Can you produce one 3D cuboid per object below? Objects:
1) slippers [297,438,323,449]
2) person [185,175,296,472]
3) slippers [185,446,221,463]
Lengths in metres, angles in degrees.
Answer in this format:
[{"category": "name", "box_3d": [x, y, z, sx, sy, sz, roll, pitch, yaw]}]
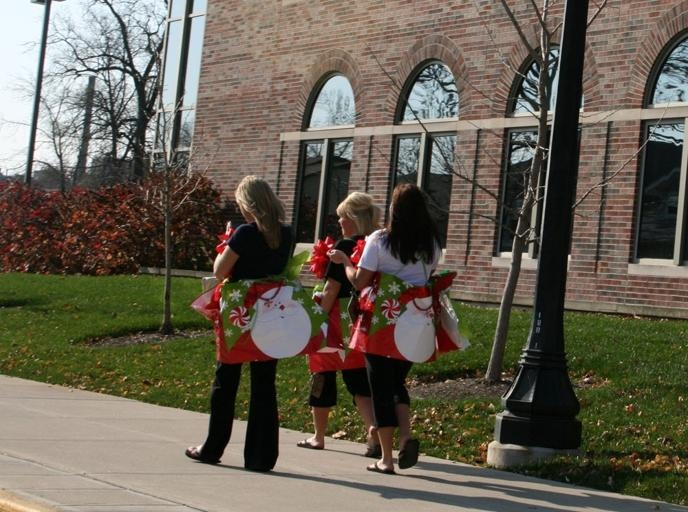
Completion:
[{"category": "slippers", "box_3d": [-0.328, 1.850, 6.595, 0.194, 0.053, 0.099, 8, -7, 11]}, {"category": "person", "box_3d": [-0.806, 0.540, 5.556, 0.708, 2.443, 0.369, 3, 0, -5]}, {"category": "slippers", "box_3d": [-1.172, 1.645, 5.584, 0.288, 0.116, 0.117, 13, -5, 20]}]
